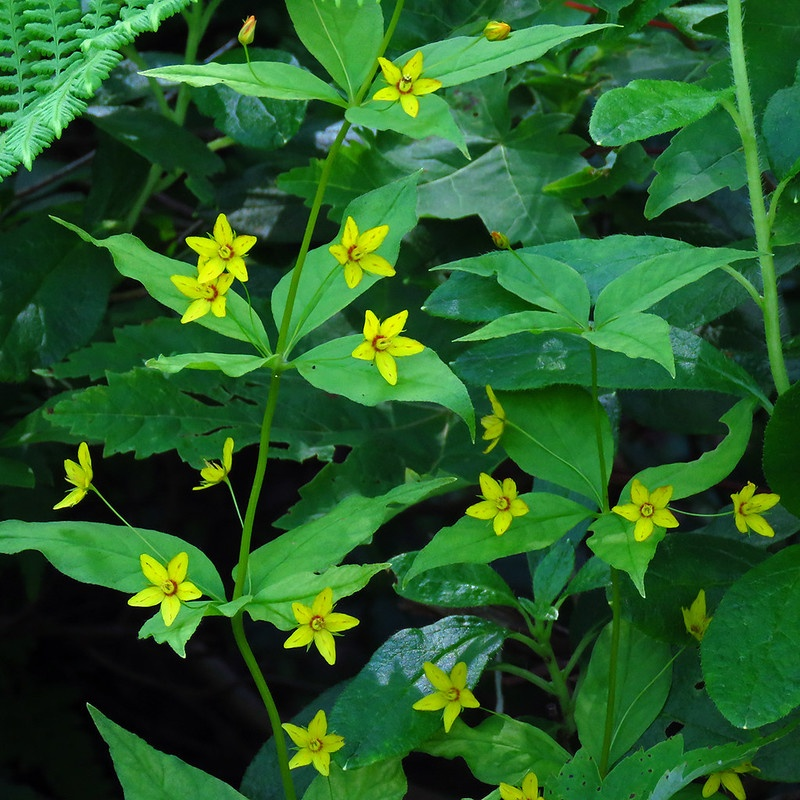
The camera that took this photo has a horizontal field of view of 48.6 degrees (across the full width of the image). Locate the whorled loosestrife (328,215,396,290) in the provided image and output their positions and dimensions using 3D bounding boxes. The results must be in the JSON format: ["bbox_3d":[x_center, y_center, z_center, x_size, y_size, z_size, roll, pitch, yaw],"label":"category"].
[{"bbox_3d":[-0.035,-0.123,0.720,0.019,0.066,0.063,0,62,-32],"label":"whorled loosestrife"}]

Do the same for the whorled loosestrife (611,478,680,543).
[{"bbox_3d":[0.200,0.088,0.721,0.052,0.037,0.066,-14,27,11],"label":"whorled loosestrife"}]

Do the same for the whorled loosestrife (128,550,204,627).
[{"bbox_3d":[-0.179,0.145,0.686,0.039,0.056,0.051,-7,32,28],"label":"whorled loosestrife"}]
